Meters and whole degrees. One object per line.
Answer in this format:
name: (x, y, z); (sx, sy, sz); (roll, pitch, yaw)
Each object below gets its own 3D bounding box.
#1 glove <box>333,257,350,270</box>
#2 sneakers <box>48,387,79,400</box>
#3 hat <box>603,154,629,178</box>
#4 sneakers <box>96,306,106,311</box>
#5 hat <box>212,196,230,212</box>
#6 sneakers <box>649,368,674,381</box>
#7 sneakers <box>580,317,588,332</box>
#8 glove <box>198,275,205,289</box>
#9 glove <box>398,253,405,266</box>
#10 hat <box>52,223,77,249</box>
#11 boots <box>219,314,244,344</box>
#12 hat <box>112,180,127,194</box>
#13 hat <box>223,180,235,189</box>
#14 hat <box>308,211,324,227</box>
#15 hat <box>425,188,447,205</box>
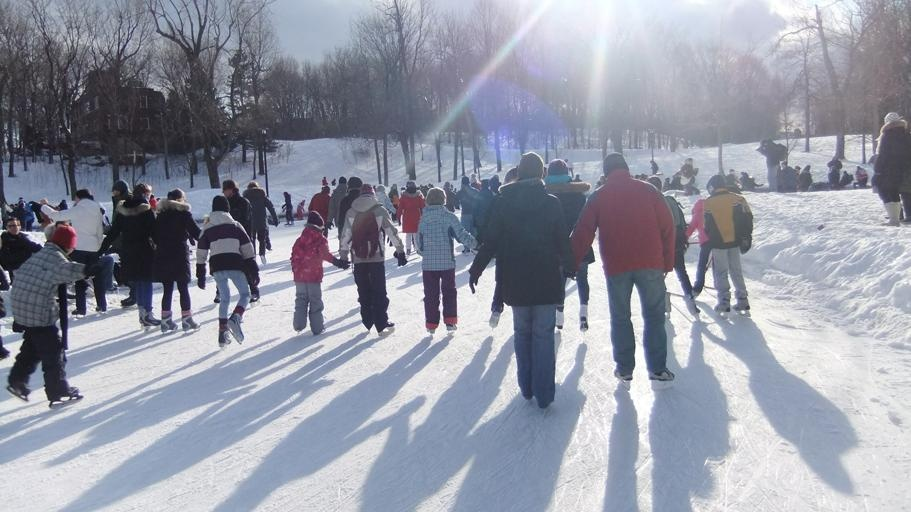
glove: (-2.537, 0.156, 14.987); (0.360, 0.232, 0.190); (20, -12, 23)
sneakers: (-7.520, 2.677, 13.085); (0.536, 0.246, 0.123); (-7, 9, -14)
hat: (3.089, -1.776, 13.211); (0.359, 0.421, 0.521); (-2, 11, 13)
sneakers: (-8.902, 1.325, 17.018); (0.140, 0.112, 0.145); (-1, 3, -4)
hat: (-5.248, -1.174, 15.124); (0.355, 0.406, 0.297); (-10, 11, -34)
sneakers: (3.941, 2.296, 13.064); (0.544, 0.269, 0.189); (0, -1, 1)
sneakers: (2.825, 1.470, 14.974); (0.185, 0.264, 0.399); (-1, 10, 18)
glove: (-5.625, 0.571, 14.968); (0.096, 0.291, 0.258); (-5, 9, -7)
glove: (-1.229, 0.060, 15.322); (0.181, 0.291, 0.218); (-6, 9, -10)
hat: (-7.638, -0.408, 13.306); (0.346, 0.473, 0.476); (10, 9, -18)
boots: (-4.870, 1.596, 14.596); (0.355, 0.872, 0.378); (2, 48, 1)
hat: (-7.907, -1.656, 15.944); (0.355, 0.231, 0.273); (24, 25, 37)
hat: (-6.036, -1.908, 18.055); (0.321, 0.233, 0.522); (-7, 10, -17)
hat: (-3.185, -0.858, 15.418); (0.271, 0.316, 0.396); (-3, 9, -2)
hat: (-0.465, -1.324, 15.151); (0.378, 0.390, 0.391); (1, 0, 7)
